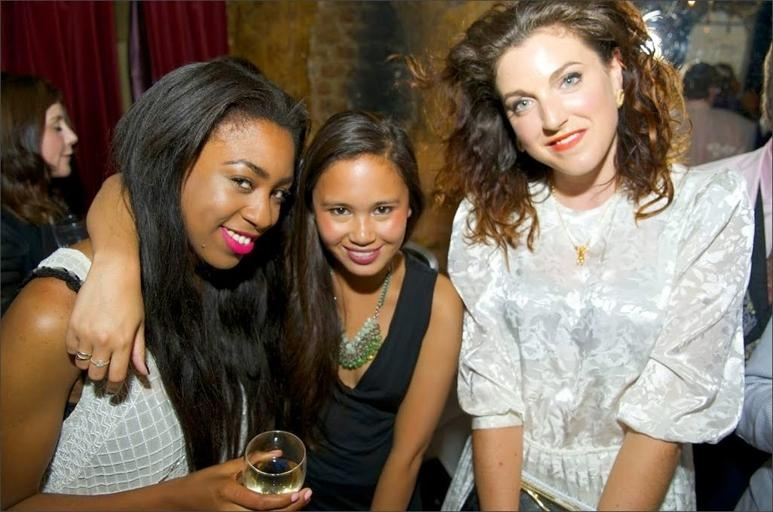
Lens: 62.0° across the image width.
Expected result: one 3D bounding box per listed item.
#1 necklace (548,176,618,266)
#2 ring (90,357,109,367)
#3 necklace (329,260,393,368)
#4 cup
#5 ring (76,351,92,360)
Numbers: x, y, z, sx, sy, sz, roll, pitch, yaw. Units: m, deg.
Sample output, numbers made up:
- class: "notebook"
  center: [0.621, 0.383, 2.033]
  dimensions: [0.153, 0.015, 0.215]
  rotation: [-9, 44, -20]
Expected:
- class: "necklace"
  center: [0.768, -0.126, 2.473]
  dimensions: [0.319, 0.336, 0.097]
  rotation: [7, 1, 17]
- class: "ring"
  center: [-0.965, 0.362, 2.172]
  dimensions: [0.057, 0.029, 0.029]
  rotation: [5, -1, -29]
- class: "necklace"
  center: [-0.108, 0.263, 2.758]
  dimensions: [0.220, 0.380, 0.075]
  rotation: [-1, -18, 46]
- class: "cup"
  center: [-0.395, 0.724, 2.271]
  dimensions: [0.184, 0.210, 0.209]
  rotation: [-1, 36, -13]
- class: "ring"
  center: [-1.020, 0.337, 2.169]
  dimensions: [0.047, 0.023, 0.040]
  rotation: [5, -1, -28]
